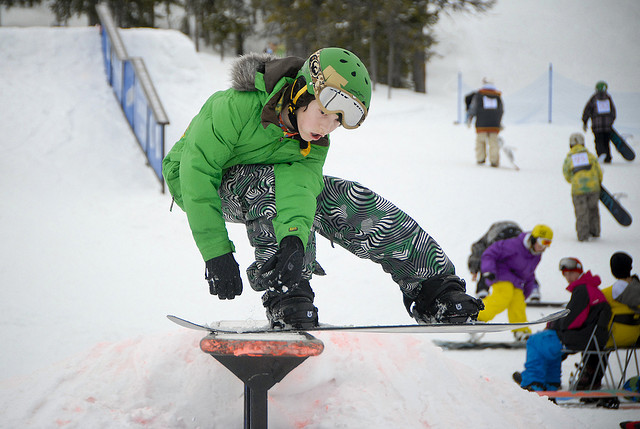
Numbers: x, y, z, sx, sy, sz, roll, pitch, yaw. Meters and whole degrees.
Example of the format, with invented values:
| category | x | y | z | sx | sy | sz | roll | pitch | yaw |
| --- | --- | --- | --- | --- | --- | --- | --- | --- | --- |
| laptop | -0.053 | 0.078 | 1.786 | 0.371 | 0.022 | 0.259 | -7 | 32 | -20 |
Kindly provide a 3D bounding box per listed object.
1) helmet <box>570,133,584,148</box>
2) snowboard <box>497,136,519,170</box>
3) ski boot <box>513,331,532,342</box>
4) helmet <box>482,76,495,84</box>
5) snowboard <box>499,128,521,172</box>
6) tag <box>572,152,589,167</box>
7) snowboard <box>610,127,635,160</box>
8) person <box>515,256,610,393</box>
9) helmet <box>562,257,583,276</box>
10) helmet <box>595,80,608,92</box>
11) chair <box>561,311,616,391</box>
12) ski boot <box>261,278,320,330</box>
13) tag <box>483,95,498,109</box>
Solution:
| category | x | y | z | sx | sy | sz | roll | pitch | yaw |
| --- | --- | --- | --- | --- | --- | --- | --- | --- | --- |
| helmet | 3.423 | -0.981 | 13.123 | 0.149 | 0.210 | 0.083 | -2 | 6 | 8 |
| snowboard | 2.785 | -0.924 | 14.547 | 0.304 | 0.529 | 0.699 | 2 | 12 | 11 |
| ski boot | 2.482 | 1.479 | 12.068 | 0.147 | 0.131 | 0.113 | -18 | 4 | -26 |
| helmet | 2.307 | -1.833 | 13.459 | 0.160 | 0.098 | 0.164 | 4 | 9 | 4 |
| snowboard | 2.839 | -0.938 | 14.751 | 0.171 | 0.650 | 0.169 | -16 | -6 | -38 |
| tag | 3.458 | -0.727 | 13.060 | 0.207 | 0.187 | 0.057 | 3 | 12 | 17 |
| snowboard | 4.187 | -0.961 | 13.627 | 0.390 | 0.417 | 0.059 | -5 | 12 | -22 |
| person | 2.815 | 1.357 | 11.447 | 0.919 | 1.770 | 0.732 | 2 | -16 | 23 |
| helmet | 3.011 | 0.612 | 11.736 | 0.232 | 0.226 | 0.314 | 2 | 12 | 14 |
| helmet | 3.808 | -1.727 | 13.317 | 0.149 | 0.132 | 0.133 | 0 | 11 | 3 |
| chair | 3.108 | 1.584 | 11.004 | 0.497 | 0.889 | 0.496 | -11 | 4 | -31 |
| ski boot | -0.299 | 0.936 | 10.197 | 0.331 | 0.365 | 0.653 | -1 | 9 | -6 |
| tag | 2.329 | -1.551 | 13.518 | 0.174 | 0.129 | 0.018 | 0 | 13 | -4 |
